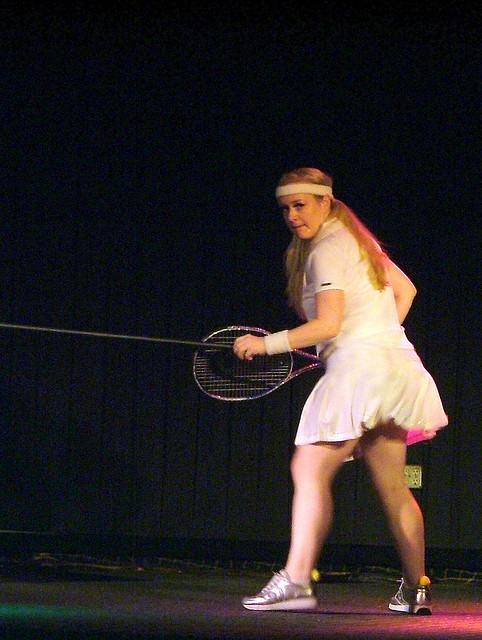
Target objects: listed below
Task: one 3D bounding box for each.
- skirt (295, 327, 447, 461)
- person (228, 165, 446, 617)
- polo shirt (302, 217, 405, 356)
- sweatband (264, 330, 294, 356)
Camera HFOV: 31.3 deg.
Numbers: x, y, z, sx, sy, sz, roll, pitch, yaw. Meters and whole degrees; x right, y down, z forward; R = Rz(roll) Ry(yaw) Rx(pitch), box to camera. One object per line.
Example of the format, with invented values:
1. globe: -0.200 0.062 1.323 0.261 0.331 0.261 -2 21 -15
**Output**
1. skirt: 0.440 0.218 2.840 0.517 0.386 0.193 0 -5 -1
2. person: 0.393 0.304 3.232 0.703 1.611 1.040 -1 -5 8
3. polo shirt: 0.341 -0.160 2.959 0.278 0.361 0.409 4 10 20
4. sweatband: 0.130 0.081 2.826 0.101 0.070 0.082 -4 -27 4
